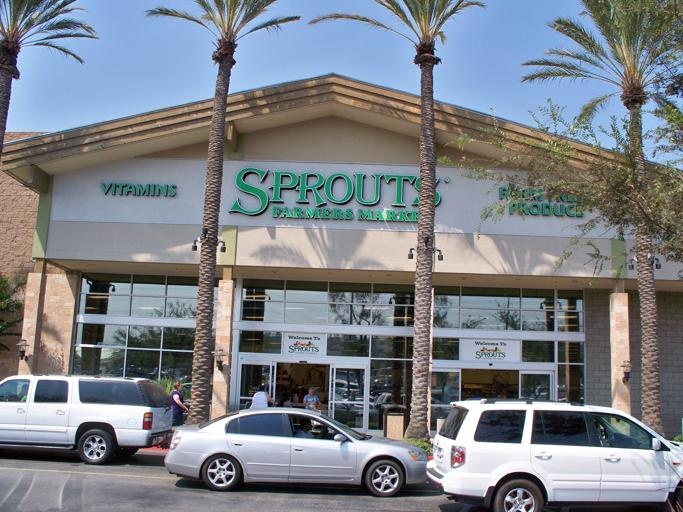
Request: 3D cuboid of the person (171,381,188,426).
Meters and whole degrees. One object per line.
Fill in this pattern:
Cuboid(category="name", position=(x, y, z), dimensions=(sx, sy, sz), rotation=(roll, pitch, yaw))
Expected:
Cuboid(category="person", position=(-5.647, 5.072, 22.218), dimensions=(0.654, 0.960, 1.865), rotation=(-11, -40, -20))

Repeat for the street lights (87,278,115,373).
Cuboid(category="street lights", position=(-9.892, 2.708, 25.585), dimensions=(0.890, 3.686, 0.296), rotation=(5, -12, -12))
